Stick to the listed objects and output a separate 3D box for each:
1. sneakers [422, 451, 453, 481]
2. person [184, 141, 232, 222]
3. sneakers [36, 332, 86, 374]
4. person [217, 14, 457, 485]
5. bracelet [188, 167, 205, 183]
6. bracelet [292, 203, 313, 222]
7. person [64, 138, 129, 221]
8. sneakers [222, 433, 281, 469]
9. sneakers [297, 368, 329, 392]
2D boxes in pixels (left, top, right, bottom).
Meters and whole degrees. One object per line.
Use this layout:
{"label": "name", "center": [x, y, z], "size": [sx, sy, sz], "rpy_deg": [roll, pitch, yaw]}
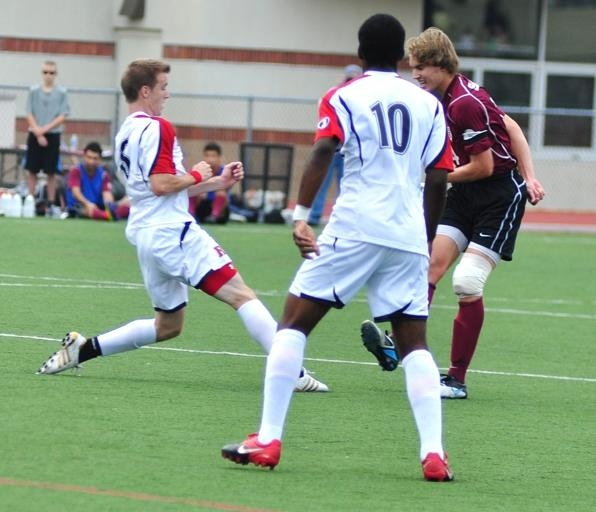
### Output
{"label": "sneakers", "center": [0.572, 0.874, 4.254], "size": [0.064, 0.091, 0.173], "rpy_deg": [0, -1, 11]}
{"label": "person", "center": [-1.365, -1.027, 15.246], "size": [0.485, 1.376, 0.930], "rpy_deg": [-1, -21, 7]}
{"label": "sneakers", "center": [-1.325, 0.550, 5.713], "size": [0.243, 0.138, 0.073], "rpy_deg": [-37, -9, 2]}
{"label": "person", "center": [0.226, -0.047, 4.494], "size": [0.918, 2.120, 0.535], "rpy_deg": [5, -17, -1]}
{"label": "bracelet", "center": [-0.544, -0.421, 5.444], "size": [0.035, 0.061, 0.079], "rpy_deg": [-31, -18, -2]}
{"label": "bracelet", "center": [0.008, -0.172, 4.458], "size": [0.070, 0.083, 0.072], "rpy_deg": [8, 21, -34]}
{"label": "person", "center": [-2.684, -0.960, 14.066], "size": [0.728, 1.233, 1.124], "rpy_deg": [-8, 13, -39]}
{"label": "sneakers", "center": [-0.184, 0.807, 4.222], "size": [0.249, 0.146, 0.102], "rpy_deg": [10, -24, 0]}
{"label": "sneakers", "center": [0.062, 0.681, 5.543], "size": [0.224, 0.109, 0.076], "rpy_deg": [5, 0, -37]}
